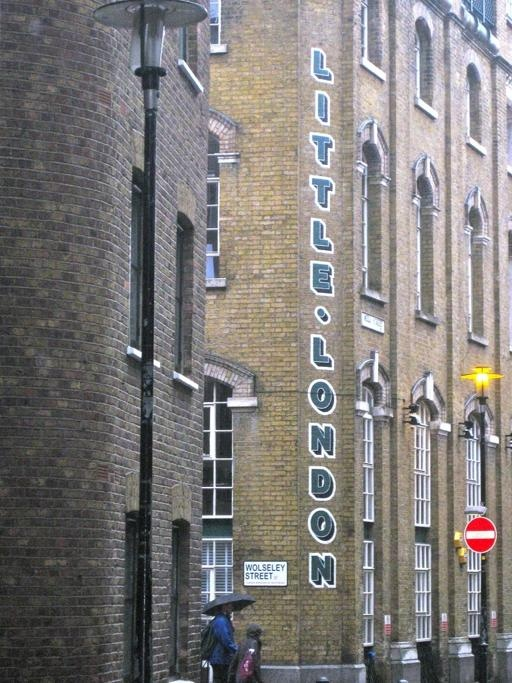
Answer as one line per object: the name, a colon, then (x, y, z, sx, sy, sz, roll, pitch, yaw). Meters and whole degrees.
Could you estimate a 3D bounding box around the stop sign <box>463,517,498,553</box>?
stop sign: (3.500, 3.018, 33.559, 0.519, 0.643, 0.537, -6, -13, 23)
